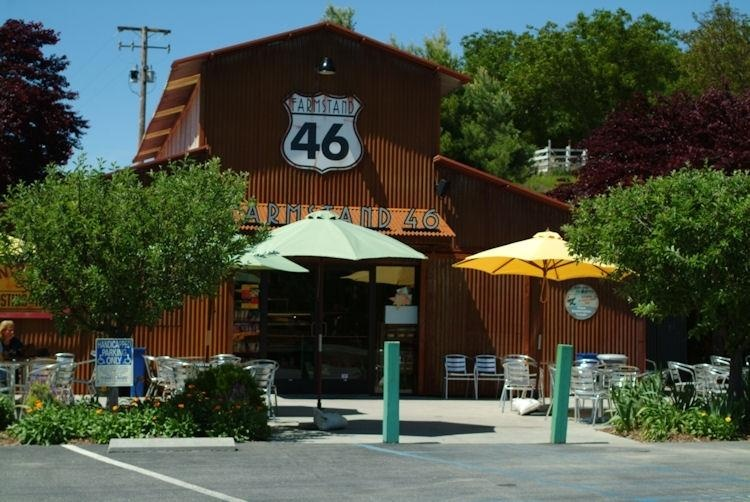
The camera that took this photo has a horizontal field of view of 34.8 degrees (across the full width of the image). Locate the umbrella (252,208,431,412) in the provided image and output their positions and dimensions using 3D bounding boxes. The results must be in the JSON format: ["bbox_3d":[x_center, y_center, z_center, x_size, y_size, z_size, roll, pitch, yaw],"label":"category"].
[{"bbox_3d":[-1.015,1.208,27.238,3.988,3.748,4.026,6,-5,-35],"label":"umbrella"}]

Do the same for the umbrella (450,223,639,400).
[{"bbox_3d":[4.218,1.668,30.389,4.003,4.582,3.998,4,5,34],"label":"umbrella"}]

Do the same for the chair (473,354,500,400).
[{"bbox_3d":[2.966,3.252,31.425,0.947,1.234,0.944,-2,-6,28],"label":"chair"}]

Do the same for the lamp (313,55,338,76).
[{"bbox_3d":[-1.319,-4.854,31.410,0.436,0.450,0.465,-1,1,-9],"label":"lamp"}]

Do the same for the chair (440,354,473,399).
[{"bbox_3d":[2.178,3.231,31.323,0.828,1.147,0.735,0,-6,-3],"label":"chair"}]
